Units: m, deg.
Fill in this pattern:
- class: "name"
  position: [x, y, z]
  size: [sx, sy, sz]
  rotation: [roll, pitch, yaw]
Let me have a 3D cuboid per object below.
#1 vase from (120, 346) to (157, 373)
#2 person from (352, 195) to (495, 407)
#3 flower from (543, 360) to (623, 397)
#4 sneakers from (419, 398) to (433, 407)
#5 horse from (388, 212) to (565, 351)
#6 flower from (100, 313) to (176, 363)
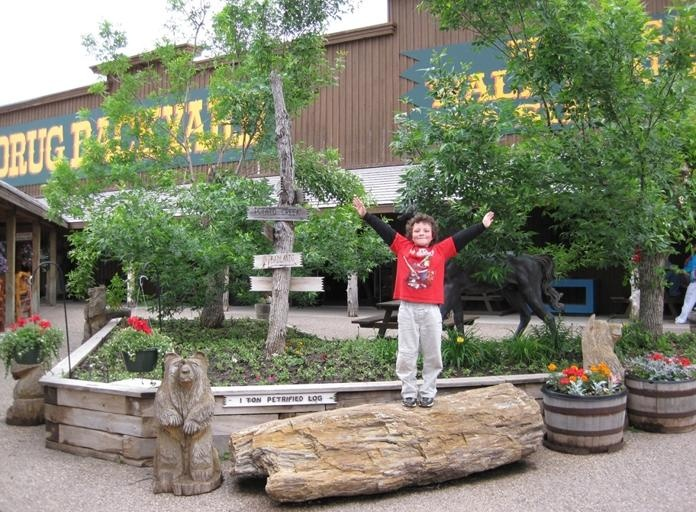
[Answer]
- class: "vase"
  position: [-2.331, 1.174, 7.037]
  size: [0.315, 0.190, 0.319]
  rotation: [-2, -5, 21]
- class: "person"
  position: [0.789, 0.496, 6.732]
  size: [1.203, 2.126, 0.468]
  rotation: [-2, -1, 11]
- class: "flower"
  position: [2.629, 1.358, 6.933]
  size: [0.832, 0.362, 0.591]
  rotation: [-3, -2, 19]
- class: "sneakers"
  position: [0.838, 1.535, 6.579]
  size: [0.154, 0.105, 0.157]
  rotation: [-2, -2, 6]
- class: "horse"
  position: [1.951, 0.680, 9.820]
  size: [3.574, 2.317, 0.822]
  rotation: [7, -15, -1]
- class: "flower"
  position: [-2.752, 1.179, 8.195]
  size: [0.742, 0.521, 0.745]
  rotation: [-7, -8, 2]
